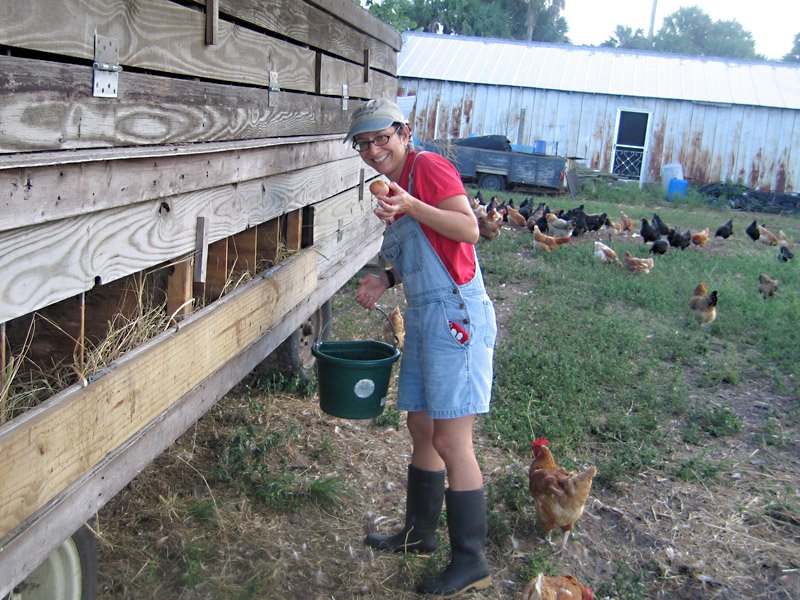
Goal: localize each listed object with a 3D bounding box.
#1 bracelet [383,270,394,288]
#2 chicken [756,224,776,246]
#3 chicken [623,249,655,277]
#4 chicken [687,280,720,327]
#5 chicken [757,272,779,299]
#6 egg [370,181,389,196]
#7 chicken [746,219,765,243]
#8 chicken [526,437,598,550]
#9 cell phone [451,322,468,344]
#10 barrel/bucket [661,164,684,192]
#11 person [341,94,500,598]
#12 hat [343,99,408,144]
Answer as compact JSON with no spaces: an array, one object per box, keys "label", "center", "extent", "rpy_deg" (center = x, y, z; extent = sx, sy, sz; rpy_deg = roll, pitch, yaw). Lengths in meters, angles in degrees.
[{"label":"bracelet","center":[-0.074,-0.131,3.208],"extent":[0.077,0.096,0.084],"rpy_deg":[-2,5,-7]},{"label":"chicken","center":[10.112,-1.745,14.238],"extent":[0.357,0.391,0.864],"rpy_deg":[13,17,22]},{"label":"chicken","center":[4.815,-0.688,10.401],"extent":[0.600,0.269,0.692],"rpy_deg":[10,16,7]},{"label":"chicken","center":[4.724,0.061,8.002],"extent":[0.290,0.614,0.817],"rpy_deg":[6,12,17]},{"label":"chicken","center":[6.598,-0.231,9.278],"extent":[0.315,0.323,0.693],"rpy_deg":[17,19,34]},{"label":"egg","center":[-0.096,-0.523,2.407],"extent":[0.091,0.074,0.148],"rpy_deg":[7,16,0]},{"label":"chicken","center":[10.077,-1.977,14.756],"extent":[0.458,0.698,1.288],"rpy_deg":[-10,5,37]},{"label":"chicken","center":[1.055,1.317,3.589],"extent":[0.299,0.655,0.813],"rpy_deg":[4,5,-16]},{"label":"cell phone","center":[0.296,0.160,2.590],"extent":[0.070,0.113,0.031],"rpy_deg":[-10,1,11]},{"label":"barrel/bucket","center":[11.196,-5.046,21.218],"extent":[0.754,1.479,0.760],"rpy_deg":[-9,16,3]},{"label":"person","center":[0.134,0.251,3.078],"extent":[1.037,2.569,0.958],"rpy_deg":[1,9,-1]},{"label":"hat","center":[-0.116,-0.895,2.649],"extent":[0.356,0.204,0.390],"rpy_deg":[5,17,1]}]
